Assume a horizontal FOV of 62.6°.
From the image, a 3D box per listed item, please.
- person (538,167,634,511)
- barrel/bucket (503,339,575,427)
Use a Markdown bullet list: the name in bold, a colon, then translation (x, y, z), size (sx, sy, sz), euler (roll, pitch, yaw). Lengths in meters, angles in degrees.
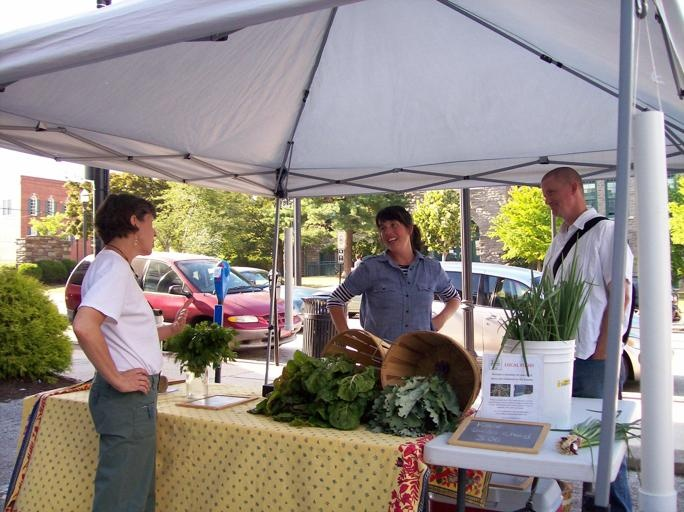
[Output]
- **person**: translation (1.703, 0.394, 3.922), size (1.067, 2.190, 0.687), euler (0, -1, 25)
- **barrel/bucket**: translation (0.951, 0.534, 2.727), size (0.315, 0.427, 0.291), euler (1, 8, 0)
